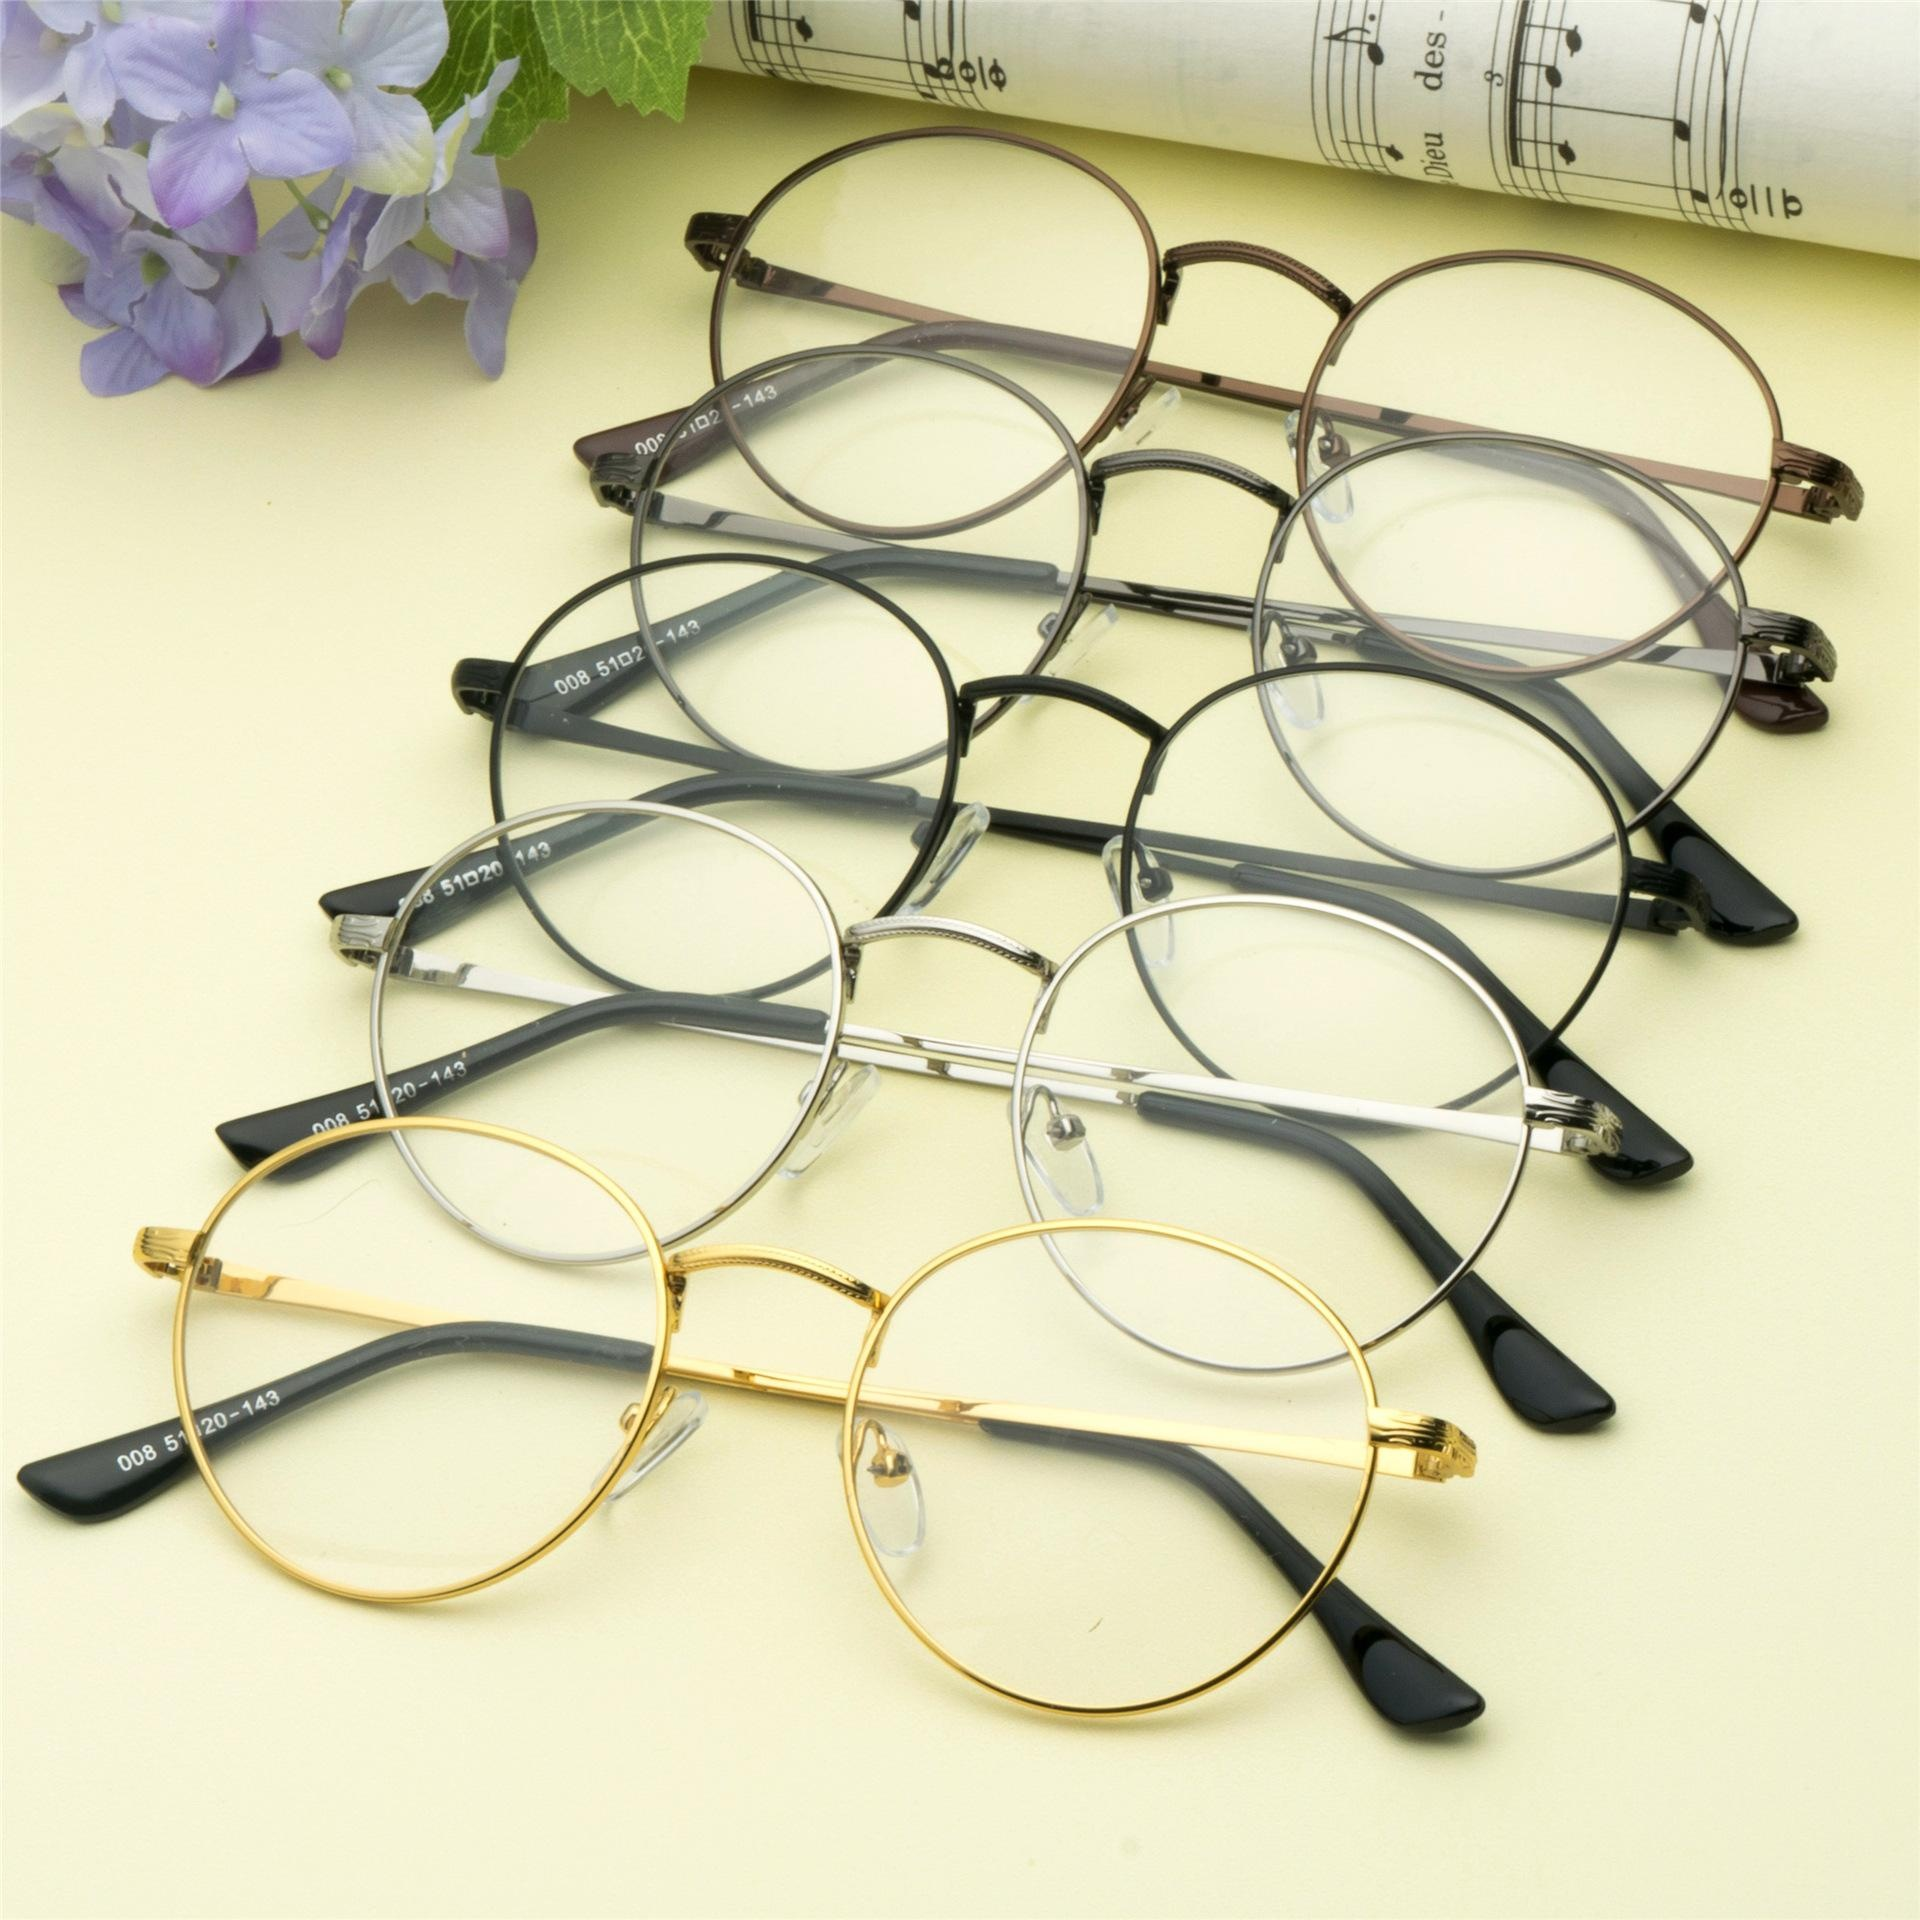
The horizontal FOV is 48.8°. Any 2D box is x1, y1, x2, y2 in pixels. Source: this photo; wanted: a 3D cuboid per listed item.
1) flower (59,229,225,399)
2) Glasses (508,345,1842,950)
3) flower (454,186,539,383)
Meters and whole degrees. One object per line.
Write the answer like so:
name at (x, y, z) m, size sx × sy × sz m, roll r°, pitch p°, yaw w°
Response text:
flower at (-0.428, -0.337, 1.077) m, size 0.109 × 0.080 × 0.036 m, roll 7°, pitch 19°, yaw 36°
Glasses at (0.084, -0.095, 0.979) m, size 0.712 × 0.163 × 0.150 m, roll 7°, pitch 40°, yaw -18°
flower at (-0.242, -0.350, 1.102) m, size 0.055 × 0.088 × 0.024 m, roll -7°, pitch 3°, yaw 6°
